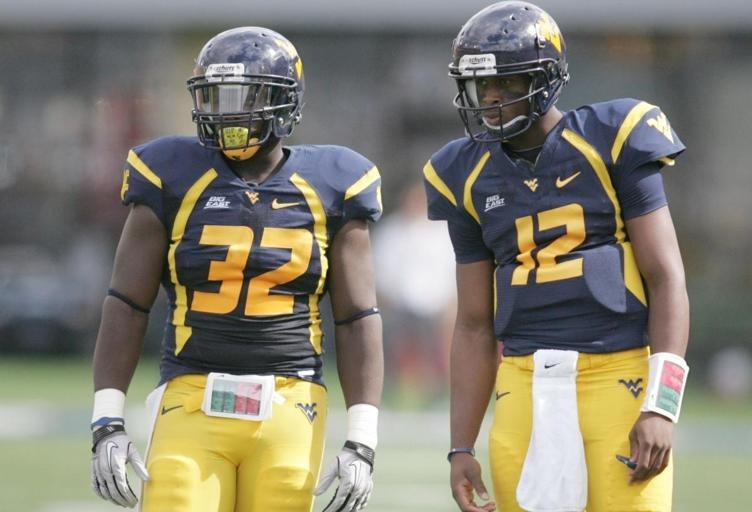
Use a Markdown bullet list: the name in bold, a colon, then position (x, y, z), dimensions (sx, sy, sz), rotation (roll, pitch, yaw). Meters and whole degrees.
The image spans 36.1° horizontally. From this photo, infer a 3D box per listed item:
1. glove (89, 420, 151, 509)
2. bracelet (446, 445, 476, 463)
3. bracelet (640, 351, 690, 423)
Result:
- **glove**: position (-1.428, 1.151, 6.432), dimensions (0.317, 0.502, 0.318), rotation (3, -4, -14)
- **bracelet**: position (0.489, 1.118, 6.566), dimensions (0.107, 0.098, 0.041), rotation (-3, 34, -2)
- **bracelet**: position (1.546, 0.698, 6.200), dimensions (0.237, 0.365, 0.116), rotation (2, -4, 8)
